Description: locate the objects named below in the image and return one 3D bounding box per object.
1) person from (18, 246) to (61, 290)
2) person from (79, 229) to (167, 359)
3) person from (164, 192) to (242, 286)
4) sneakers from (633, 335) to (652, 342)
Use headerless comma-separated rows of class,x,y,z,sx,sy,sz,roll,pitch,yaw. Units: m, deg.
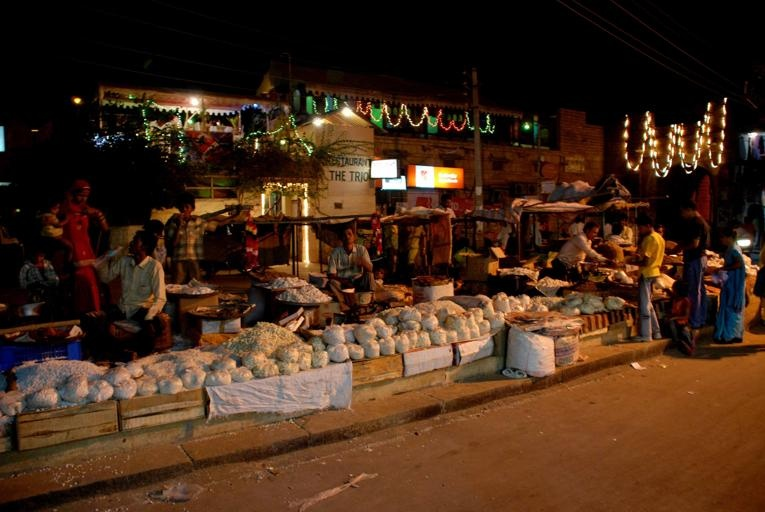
person,-6.526,0.269,11.220,0.558,0.669,1.039,-3,5,-36
person,-4.046,0.592,9.333,0.971,1.984,1.112,4,6,43
person,-3.836,-0.347,11.688,0.872,1.764,0.569,-2,5,-20
sneakers,4.989,1.584,11.407,0.345,0.136,0.123,1,0,19
